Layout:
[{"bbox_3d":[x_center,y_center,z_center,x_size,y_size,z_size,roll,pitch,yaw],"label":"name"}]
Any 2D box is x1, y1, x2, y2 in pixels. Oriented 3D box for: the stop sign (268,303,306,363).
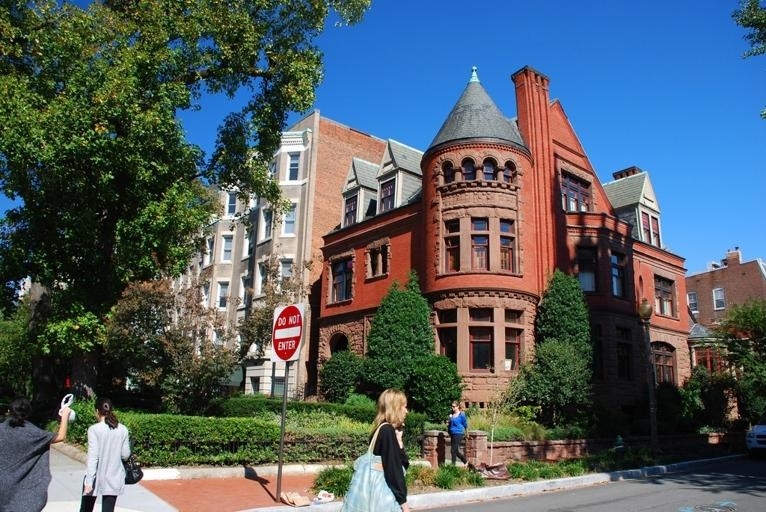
[{"bbox_3d":[-2.825,2.225,18.837,0.472,1.760,1.436,17,-24,-33],"label":"stop sign"}]
